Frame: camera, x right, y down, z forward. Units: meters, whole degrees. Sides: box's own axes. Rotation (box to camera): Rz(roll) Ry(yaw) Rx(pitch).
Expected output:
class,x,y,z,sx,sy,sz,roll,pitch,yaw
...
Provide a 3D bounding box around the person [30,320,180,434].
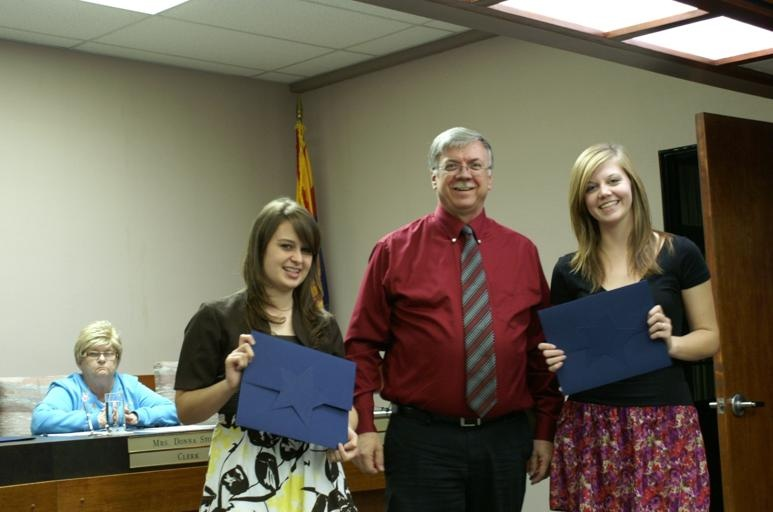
class,x,y,z,sx,sy,sz,roll,pitch,yaw
person,-1.833,0.798,3.869,0.861,0.725,0.633,5,-15,-39

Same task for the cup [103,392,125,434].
class,x,y,z,sx,sy,sz,roll,pitch,yaw
cup,-1.385,0.788,3.070,0.118,0.194,0.123,-5,-11,-1

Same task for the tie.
class,x,y,z,sx,sy,sz,roll,pitch,yaw
tie,0.359,0.241,2.373,0.123,0.744,0.139,-4,-4,8

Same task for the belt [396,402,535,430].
class,x,y,z,sx,sy,sz,roll,pitch,yaw
belt,0.288,0.613,2.361,0.540,0.099,0.129,-3,-5,-2
